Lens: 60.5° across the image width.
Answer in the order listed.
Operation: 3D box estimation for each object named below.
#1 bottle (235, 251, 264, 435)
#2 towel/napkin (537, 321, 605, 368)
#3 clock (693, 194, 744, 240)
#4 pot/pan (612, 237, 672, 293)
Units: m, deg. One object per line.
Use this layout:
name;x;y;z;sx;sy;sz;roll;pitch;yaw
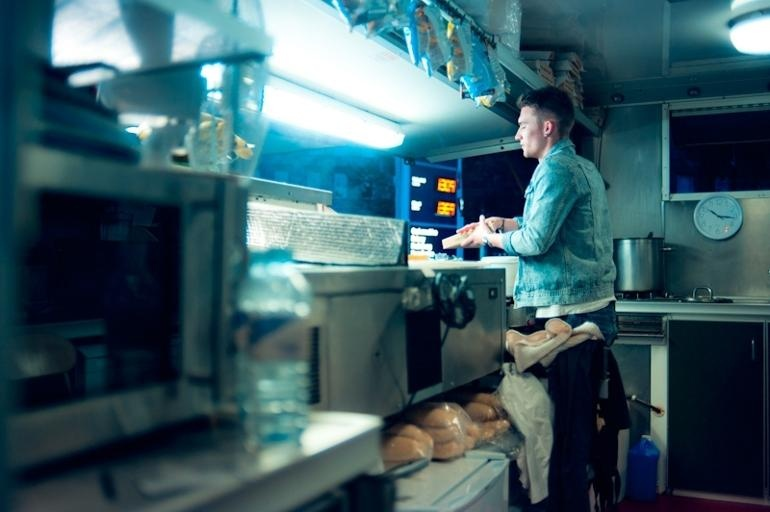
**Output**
bottle;-0.240;0.159;1.187;0.065;0.335;0.057;0;-2;-14
towel/napkin;0.736;0.347;2.594;0.247;0.173;0.064;0;-2;-8
clock;2.214;-0.254;4.433;0.259;0.297;0.304;-12;-7;44
pot/pan;1.586;0.059;4.236;0.418;0.315;0.337;-1;-3;12
